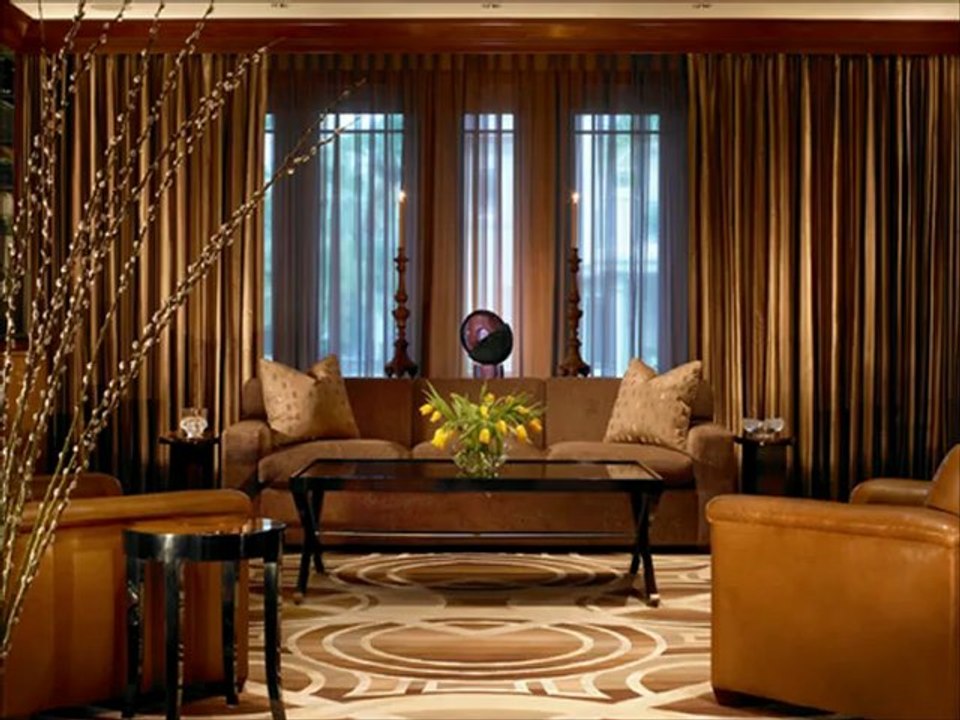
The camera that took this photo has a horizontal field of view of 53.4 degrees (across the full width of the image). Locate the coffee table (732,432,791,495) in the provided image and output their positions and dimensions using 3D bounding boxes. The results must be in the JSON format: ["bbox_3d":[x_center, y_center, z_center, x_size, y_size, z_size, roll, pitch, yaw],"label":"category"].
[{"bbox_3d":[1.484,0.557,5.205,0.261,0.447,0.287,1,-2,-3],"label":"coffee table"}]

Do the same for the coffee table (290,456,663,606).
[{"bbox_3d":[-0.041,0.772,4.589,1.699,0.624,0.847,1,5,1],"label":"coffee table"}]

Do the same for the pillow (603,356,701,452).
[{"bbox_3d":[0.954,0.259,5.531,0.127,0.491,0.468,20,15,24],"label":"pillow"}]

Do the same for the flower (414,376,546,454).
[{"bbox_3d":[0.084,0.298,4.474,0.385,0.210,0.407,0,13,-42],"label":"flower"}]

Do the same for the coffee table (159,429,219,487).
[{"bbox_3d":[-1.621,0.526,5.344,0.280,0.342,0.308,0,1,0],"label":"coffee table"}]

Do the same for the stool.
[{"bbox_3d":[-0.814,0.851,3.232,0.551,0.789,0.591,1,-12,-14],"label":"stool"}]
